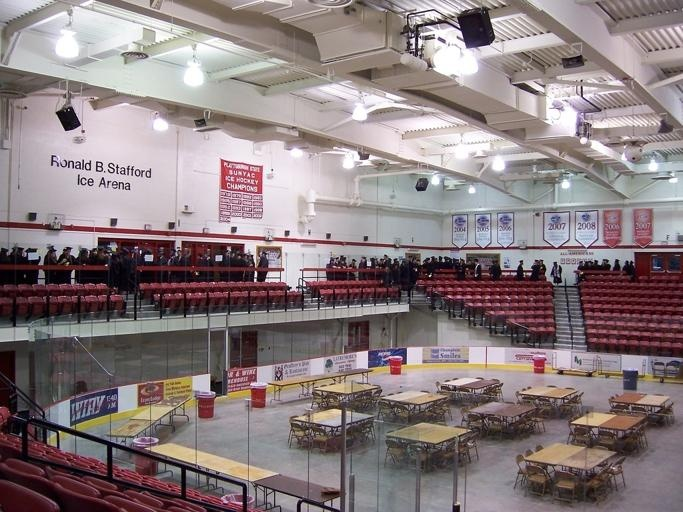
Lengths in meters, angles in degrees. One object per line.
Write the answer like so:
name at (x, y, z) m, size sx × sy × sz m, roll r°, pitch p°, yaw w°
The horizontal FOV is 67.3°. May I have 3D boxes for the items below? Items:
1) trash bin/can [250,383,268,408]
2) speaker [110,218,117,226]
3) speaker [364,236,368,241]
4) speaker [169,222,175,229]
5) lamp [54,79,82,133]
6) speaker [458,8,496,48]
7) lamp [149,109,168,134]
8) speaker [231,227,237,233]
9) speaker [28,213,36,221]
trash bin/can at (-2.881, 4.721, 17.334) m, size 0.883 × 0.748 × 0.820 m, roll 0°, pitch -7°, yaw 2°
speaker at (-9.914, -1.464, 22.140) m, size 0.196 × 0.311 × 0.376 m, roll 7°, pitch 2°, yaw 34°
speaker at (1.610, -1.146, 34.529) m, size 0.150 × 0.358 × 0.573 m, roll -2°, pitch -3°, yaw 26°
speaker at (-8.041, -1.431, 24.118) m, size 0.093 × 0.324 × 0.323 m, roll -3°, pitch -3°, yaw 39°
lamp at (-7.433, -4.131, 14.096) m, size 0.611 × 1.253 × 0.487 m, roll 0°, pitch 16°, yaw 17°
speaker at (2.434, -4.222, 9.415) m, size 0.609 × 0.669 × 0.359 m, roll -2°, pitch -2°, yaw 22°
lamp at (-6.479, -4.870, 18.221) m, size 0.436 × 0.849 × 1.187 m, roll 0°, pitch -2°, yaw -19°
speaker at (-5.655, -1.365, 26.574) m, size 0.301 × 0.246 × 0.142 m, roll -4°, pitch 27°, yaw -9°
speaker at (-11.889, -1.500, 19.599) m, size 0.182 × 0.287 × 0.360 m, roll -1°, pitch -1°, yaw 41°
